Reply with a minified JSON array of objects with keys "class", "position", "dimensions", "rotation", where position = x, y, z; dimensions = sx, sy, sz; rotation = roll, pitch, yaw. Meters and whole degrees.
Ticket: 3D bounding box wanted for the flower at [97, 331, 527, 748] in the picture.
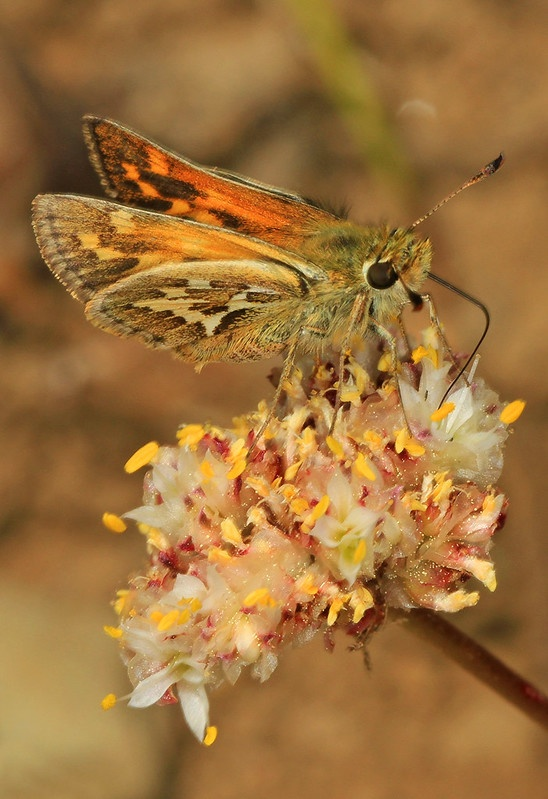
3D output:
[{"class":"flower","position":[0.045,0.128,0.926],"dimensions":[0.545,0.223,0.394],"rotation":[-10,84,-1]}]
